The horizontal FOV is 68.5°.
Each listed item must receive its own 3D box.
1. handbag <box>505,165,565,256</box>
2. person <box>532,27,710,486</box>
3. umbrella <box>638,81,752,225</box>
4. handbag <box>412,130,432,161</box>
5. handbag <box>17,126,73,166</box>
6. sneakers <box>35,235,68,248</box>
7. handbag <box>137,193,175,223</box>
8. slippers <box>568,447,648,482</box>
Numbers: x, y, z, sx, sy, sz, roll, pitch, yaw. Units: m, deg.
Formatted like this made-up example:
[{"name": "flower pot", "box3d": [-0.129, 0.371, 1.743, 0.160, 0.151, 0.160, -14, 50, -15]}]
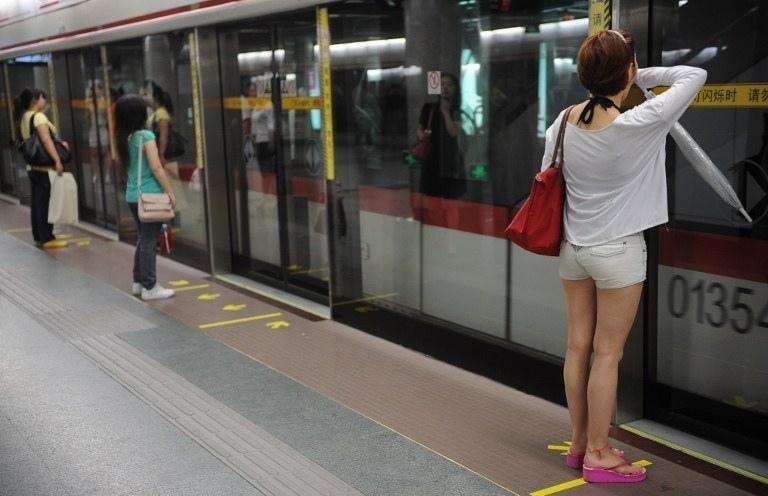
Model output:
[{"name": "handbag", "box3d": [1.065, -0.357, 3.703, 0.348, 0.586, 0.528, 13, 33, 30]}, {"name": "person", "box3d": [1.391, 0.104, 3.519, 0.787, 2.770, 0.590, 4, 16, 19]}, {"name": "umbrella", "box3d": [1.994, -0.625, 3.598, 0.165, 1.120, 0.121, -38, 7, 3]}, {"name": "handbag", "box3d": [0.356, -0.960, 5.260, 0.081, 0.253, 0.200, -12, 37, -36]}, {"name": "handbag", "box3d": [-5.634, -1.762, 9.312, 0.455, 0.857, 0.882, 8, 11, 10]}, {"name": "sneakers", "box3d": [-5.728, -0.104, 9.710, 0.380, 0.152, 0.134, -9, 19, -20]}, {"name": "handbag", "box3d": [-2.713, -0.481, 6.707, 0.370, 0.318, 0.146, -2, -1, -28]}, {"name": "slippers", "box3d": [1.448, 1.430, 3.637, 0.277, 0.087, 0.273, -4, 2, -6]}]
